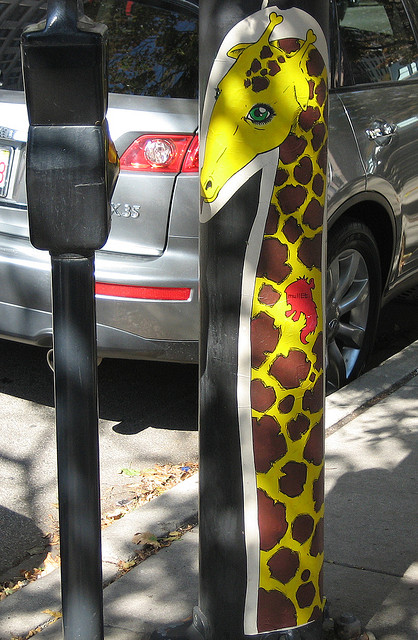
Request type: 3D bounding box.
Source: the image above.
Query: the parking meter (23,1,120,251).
[{"bbox_3d":[-0.190,-0.273,0.926,0.132,0.338,0.151,7,25,-2],"label":"parking meter"}]
